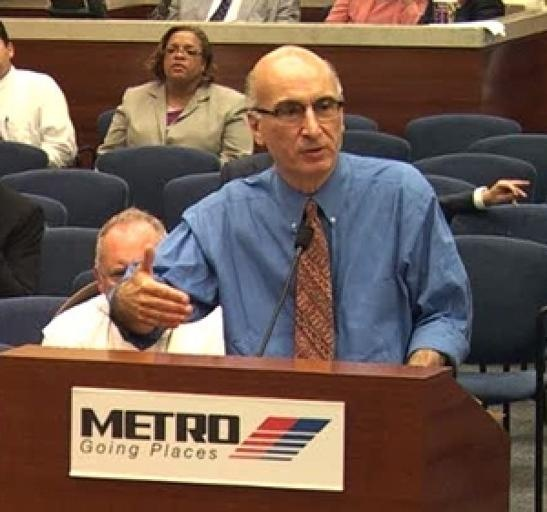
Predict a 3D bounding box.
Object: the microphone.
[{"bbox_3d":[0.039,0.110,3.858,0.046,0.051,0.412,11,62,24],"label":"microphone"}]
